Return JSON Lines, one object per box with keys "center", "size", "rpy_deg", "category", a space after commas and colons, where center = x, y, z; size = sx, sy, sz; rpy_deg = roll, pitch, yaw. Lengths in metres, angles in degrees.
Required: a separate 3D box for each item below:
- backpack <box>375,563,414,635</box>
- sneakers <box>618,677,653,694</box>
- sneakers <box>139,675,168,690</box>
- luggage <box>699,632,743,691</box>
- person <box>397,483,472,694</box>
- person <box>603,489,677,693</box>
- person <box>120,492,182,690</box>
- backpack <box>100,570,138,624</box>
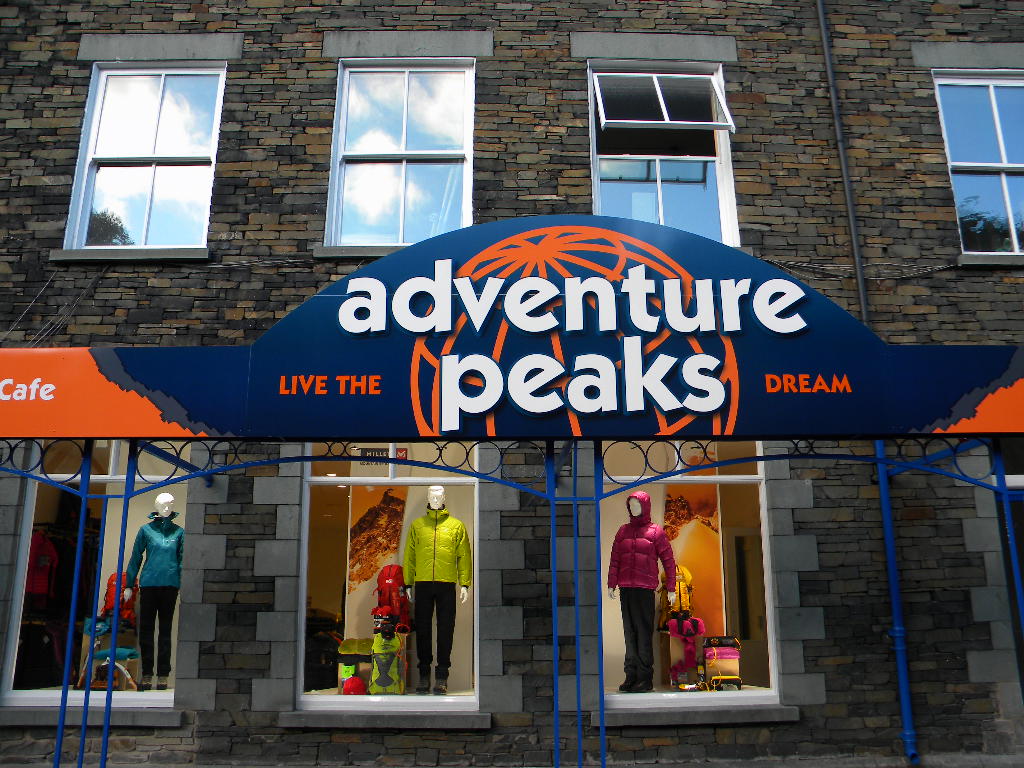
{"center": [-1.335, 2.412, 13.330], "size": [0.468, 0.658, 0.260], "rpy_deg": [0, -6, 5], "category": "backpack"}
{"center": [1.408, 3.387, 13.289], "size": [0.439, 0.240, 0.132], "rpy_deg": [5, -11, -4], "category": "sneakers"}
{"center": [-4.022, 3.350, 13.296], "size": [0.415, 0.114, 0.151], "rpy_deg": [0, 1, 2], "category": "sneakers"}
{"center": [2.378, 3.197, 13.561], "size": [0.539, 0.598, 0.474], "rpy_deg": [3, -17, -17], "category": "luggage"}
{"center": [-0.834, 2.316, 13.411], "size": [0.766, 2.273, 0.532], "rpy_deg": [1, -20, -5], "category": "person"}
{"center": [1.430, 2.354, 13.360], "size": [0.689, 2.169, 0.657], "rpy_deg": [4, -20, -12], "category": "person"}
{"center": [-4.026, 2.328, 13.443], "size": [0.573, 2.204, 0.510], "rpy_deg": [-14, -24, 33], "category": "person"}
{"center": [-4.400, 2.419, 13.403], "size": [0.323, 0.559, 0.428], "rpy_deg": [13, -23, -34], "category": "backpack"}
